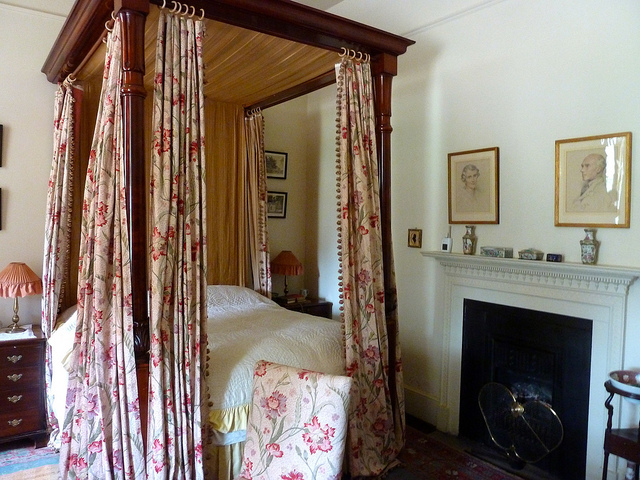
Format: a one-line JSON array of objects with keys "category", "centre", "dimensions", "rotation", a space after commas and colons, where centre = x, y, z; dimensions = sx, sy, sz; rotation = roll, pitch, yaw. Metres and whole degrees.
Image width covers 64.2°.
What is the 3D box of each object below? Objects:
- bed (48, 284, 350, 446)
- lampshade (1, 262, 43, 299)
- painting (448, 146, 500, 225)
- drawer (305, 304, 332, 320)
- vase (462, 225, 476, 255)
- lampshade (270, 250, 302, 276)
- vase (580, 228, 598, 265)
[{"category": "bed", "centre": [-0.586, 0.771, 3.864], "dimensions": [1.424, 0.651, 1.417], "rotation": [0, 0, -41]}, {"category": "lampshade", "centre": [-2.389, 0.285, 4.081], "dimensions": [0.260, 0.279, 0.266], "rotation": [-4, 5, -30]}, {"category": "painting", "centre": [1.248, -0.438, 4.091], "dimensions": [0.031, 0.880, 0.573], "rotation": [1, -1, -42]}, {"category": "drawer", "centre": [0.000, 0.716, 5.495], "dimensions": [0.214, 0.229, 0.153], "rotation": [1, 0, -42]}, {"category": "vase", "centre": [1.195, 0.001, 4.095], "dimensions": [0.100, 0.230, 0.087], "rotation": [-2, 2, 20]}, {"category": "lampshade", "centre": [-0.371, 0.223, 5.556], "dimensions": [0.249, 0.187, 0.269], "rotation": [1, 4, -4]}, {"category": "vase", "centre": [1.839, 0.041, 3.489], "dimensions": [0.093, 0.241, 0.093], "rotation": [-3, 2, -19]}]
